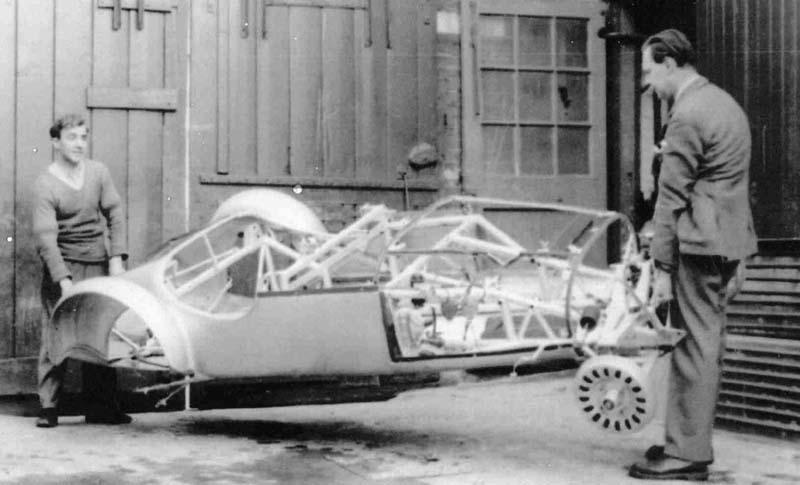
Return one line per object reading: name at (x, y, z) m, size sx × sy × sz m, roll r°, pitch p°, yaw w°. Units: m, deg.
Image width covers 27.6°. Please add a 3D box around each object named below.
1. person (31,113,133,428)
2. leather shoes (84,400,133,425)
person at (-2.593, 0.217, 13.291) m, size 0.791 × 2.511 × 0.580 m, roll -1°, pitch 1°, yaw -22°
leather shoes at (-2.401, 1.398, 13.296) m, size 0.470 × 0.276 × 0.147 m, roll 0°, pitch -1°, yaw -5°
